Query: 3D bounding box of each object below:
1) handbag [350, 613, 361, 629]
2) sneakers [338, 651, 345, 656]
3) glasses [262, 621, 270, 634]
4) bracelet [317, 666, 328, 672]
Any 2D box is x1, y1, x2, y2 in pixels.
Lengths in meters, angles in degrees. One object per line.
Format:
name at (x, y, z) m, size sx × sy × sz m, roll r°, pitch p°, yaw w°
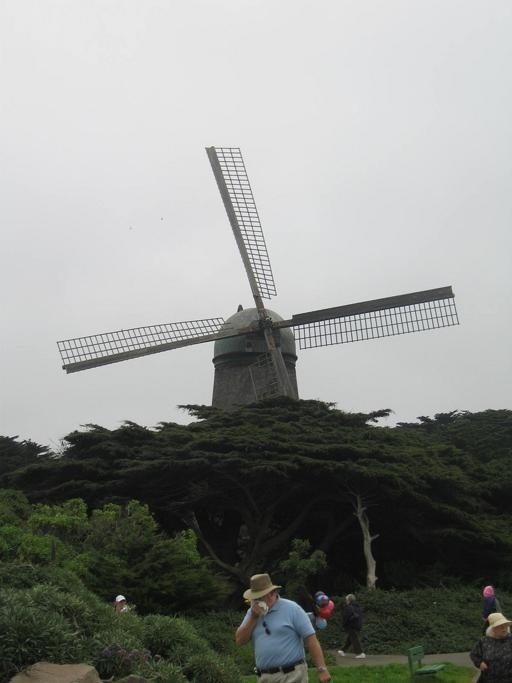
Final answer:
handbag at (2.130, 6.034, 14.543) m, size 0.239 × 0.385 × 0.260 m, roll 4°, pitch 3°, yaw 13°
sneakers at (1.924, 7.040, 15.384) m, size 0.062 × 0.114 × 0.177 m, roll -12°, pitch -2°, yaw -7°
glasses at (0.086, 2.511, 5.963) m, size 0.033 × 0.114 × 0.043 m, roll -15°, pitch -37°, yaw -33°
bracelet at (0.575, 2.831, 5.849) m, size 0.071 × 0.019 × 0.071 m, roll -3°, pitch 14°, yaw -18°
